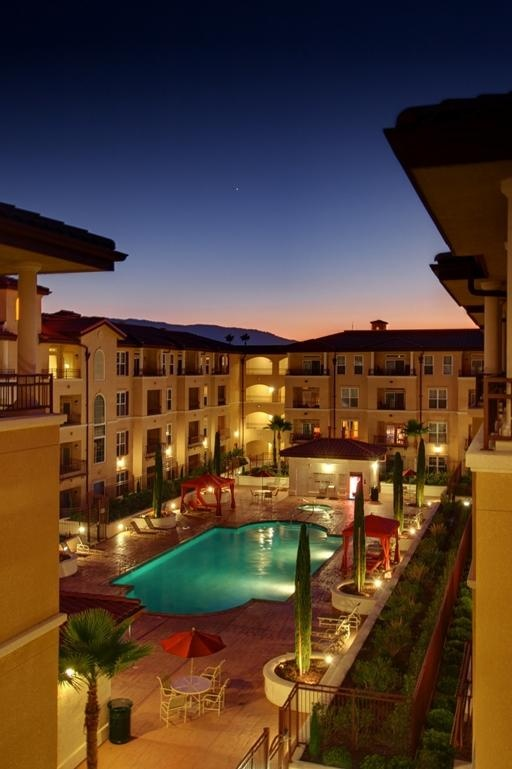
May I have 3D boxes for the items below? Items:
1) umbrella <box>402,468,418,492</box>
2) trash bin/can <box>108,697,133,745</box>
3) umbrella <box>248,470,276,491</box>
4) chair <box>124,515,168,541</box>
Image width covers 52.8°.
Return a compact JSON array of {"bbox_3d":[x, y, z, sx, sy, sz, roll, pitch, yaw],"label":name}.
[{"bbox_3d":[11.557,6.929,37.585,1.272,1.801,1.424,-1,-8,6],"label":"umbrella"},{"bbox_3d":[-2.928,7.363,11.399,0.587,0.845,0.615,0,-6,-12],"label":"trash bin/can"},{"bbox_3d":[0.425,7.423,40.817,1.367,1.237,1.541,-1,0,32],"label":"umbrella"},{"bbox_3d":[-6.152,7.959,29.381,2.536,0.770,1.551,0,1,5],"label":"chair"}]
